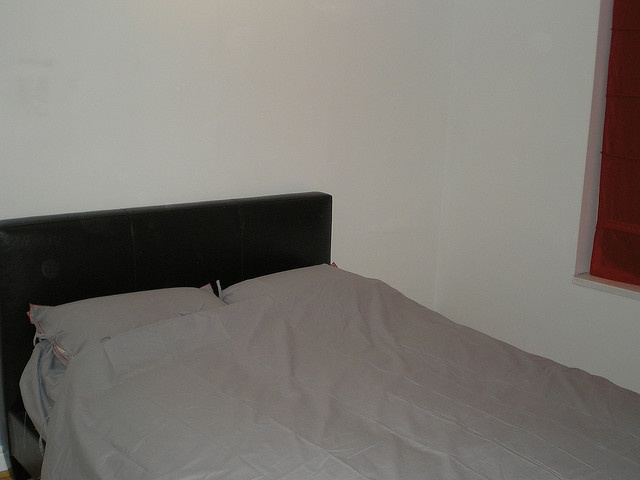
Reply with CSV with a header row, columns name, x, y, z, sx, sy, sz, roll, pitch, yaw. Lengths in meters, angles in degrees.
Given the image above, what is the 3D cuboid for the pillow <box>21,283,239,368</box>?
name,x,y,z,sx,sy,sz,roll,pitch,yaw
pillow,-0.892,0.333,2.159,0.470,0.128,0.412,-5,17,-39
